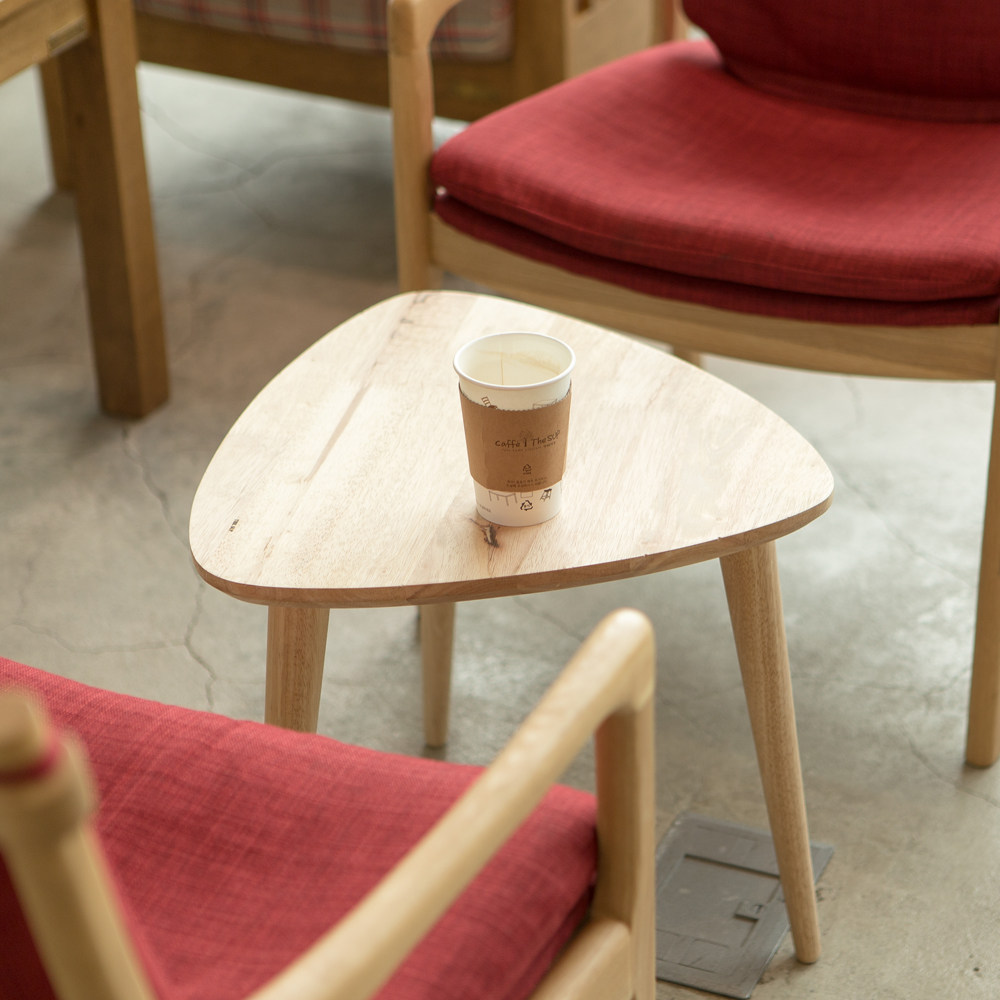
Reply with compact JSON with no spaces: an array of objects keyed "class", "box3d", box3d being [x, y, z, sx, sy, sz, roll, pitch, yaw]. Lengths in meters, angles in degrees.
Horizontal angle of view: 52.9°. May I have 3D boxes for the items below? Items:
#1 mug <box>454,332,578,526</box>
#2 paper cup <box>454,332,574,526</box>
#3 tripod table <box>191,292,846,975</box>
[{"class":"mug","box3d":[0.011,-0.045,0.679,0.107,0.134,0.097,-5,41,-2]},{"class":"paper cup","box3d":[0.011,-0.043,0.694,0.082,0.106,0.079,-1,26,1]},{"class":"tripod table","box3d":[-0.017,0.112,0.843,0.398,0.335,0.427,9,43,9]}]
